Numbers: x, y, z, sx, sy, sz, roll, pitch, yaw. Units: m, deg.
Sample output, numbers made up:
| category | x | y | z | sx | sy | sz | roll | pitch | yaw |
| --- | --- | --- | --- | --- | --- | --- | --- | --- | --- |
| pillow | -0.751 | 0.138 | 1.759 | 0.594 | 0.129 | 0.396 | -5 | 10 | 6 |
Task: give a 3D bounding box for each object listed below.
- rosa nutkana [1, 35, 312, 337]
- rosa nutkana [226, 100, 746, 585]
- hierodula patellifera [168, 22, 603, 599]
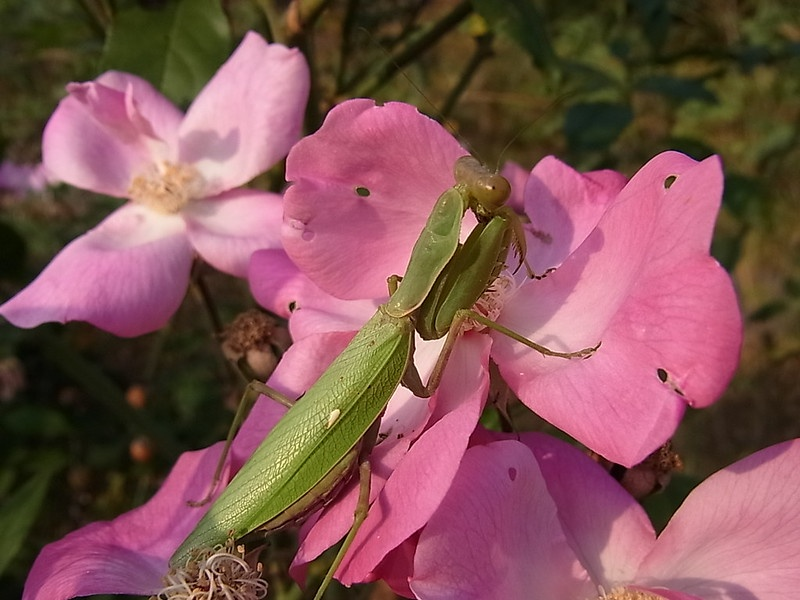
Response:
| category | x | y | z | sx | sy | sz | roll | pitch | yaw |
| --- | --- | --- | --- | --- | --- | --- | --- | --- | --- |
| rosa nutkana | -0.300 | -0.156 | 1.209 | 0.358 | 0.168 | 0.436 | 6 | 85 | 30 |
| rosa nutkana | 0.120 | 0.103 | 1.176 | 0.611 | 0.262 | 0.532 | -43 | 51 | 4 |
| hierodula patellifera | -0.027 | 0.096 | 1.224 | 0.679 | 0.290 | 0.364 | -48 | 45 | -6 |
